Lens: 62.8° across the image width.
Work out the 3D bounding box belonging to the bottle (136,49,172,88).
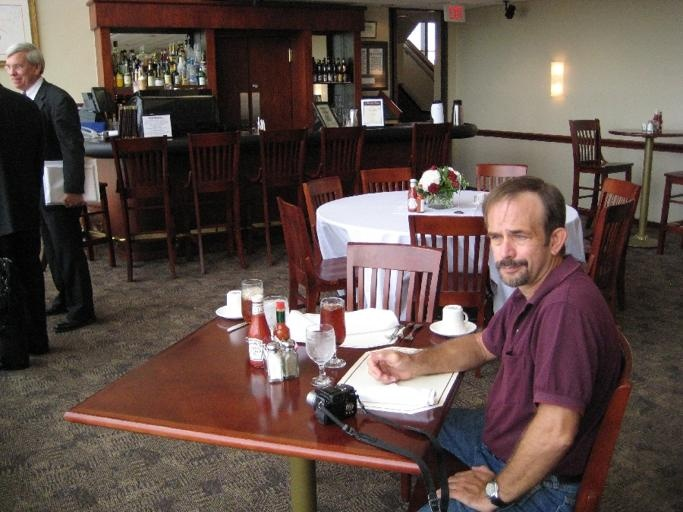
[{"bbox_3d":[-2.402,-2.404,7.148,0.495,0.494,0.416,-9,14,-27],"label":"bottle"}]

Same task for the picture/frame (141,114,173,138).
[{"bbox_3d":[-1.868,-1.313,5.652,0.285,0.222,0.260,-10,14,-27],"label":"picture/frame"}]

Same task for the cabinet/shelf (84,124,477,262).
[{"bbox_3d":[-0.836,-0.964,6.399,3.418,0.905,1.455,-10,13,-28],"label":"cabinet/shelf"}]

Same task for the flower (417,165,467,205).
[{"bbox_3d":[0.663,-0.466,3.938,0.262,0.251,0.270,-14,16,-18],"label":"flower"}]

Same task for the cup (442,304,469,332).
[{"bbox_3d":[0.418,0.233,2.082,0.101,0.109,0.068,0,3,2],"label":"cup"}]

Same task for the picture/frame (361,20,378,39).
[{"bbox_3d":[0.414,-3.499,8.616,0.037,0.331,0.360,12,17,43],"label":"picture/frame"}]

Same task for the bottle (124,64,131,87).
[{"bbox_3d":[-2.719,-2.276,7.054,0.100,0.250,0.089,-7,12,-20],"label":"bottle"}]

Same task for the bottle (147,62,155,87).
[{"bbox_3d":[-2.440,-2.304,7.135,0.096,0.298,0.203,-6,12,-14],"label":"bottle"}]

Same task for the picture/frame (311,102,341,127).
[{"bbox_3d":[-0.180,-1.762,6.977,0.267,0.298,0.502,-7,13,-17],"label":"picture/frame"}]

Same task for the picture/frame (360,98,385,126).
[{"bbox_3d":[0.365,-1.711,6.675,0.258,0.343,0.312,-2,12,4],"label":"picture/frame"}]

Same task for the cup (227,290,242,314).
[{"bbox_3d":[-0.439,0.187,2.253,0.072,0.089,0.076,1,2,0],"label":"cup"}]

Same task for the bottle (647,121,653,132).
[{"bbox_3d":[3.228,-1.342,5.830,0.066,0.088,0.129,7,16,41],"label":"bottle"}]

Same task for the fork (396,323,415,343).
[{"bbox_3d":[0.240,0.280,2.061,0.030,0.040,0.095,9,23,21],"label":"fork"}]

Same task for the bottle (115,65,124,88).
[{"bbox_3d":[-2.806,-2.252,7.017,0.098,0.227,0.099,-3,12,1],"label":"bottle"}]

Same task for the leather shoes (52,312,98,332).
[{"bbox_3d":[-1.979,0.471,4.157,0.099,0.137,0.300,6,8,39],"label":"leather shoes"}]

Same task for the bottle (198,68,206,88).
[{"bbox_3d":[-1.818,-2.313,7.235,0.105,0.245,0.072,-4,12,-6],"label":"bottle"}]

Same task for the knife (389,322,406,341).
[{"bbox_3d":[0.202,0.279,2.038,0.023,0.028,0.091,1,17,16],"label":"knife"}]

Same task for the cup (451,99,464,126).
[{"bbox_3d":[1.437,-1.766,6.888,0.123,0.313,0.415,0,13,13],"label":"cup"}]

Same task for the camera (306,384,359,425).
[{"bbox_3d":[-0.011,0.400,1.569,0.092,0.080,0.120,14,17,42],"label":"camera"}]

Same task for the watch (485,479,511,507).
[{"bbox_3d":[0.448,0.667,1.606,0.048,0.080,0.072,1,-14,30],"label":"watch"}]
